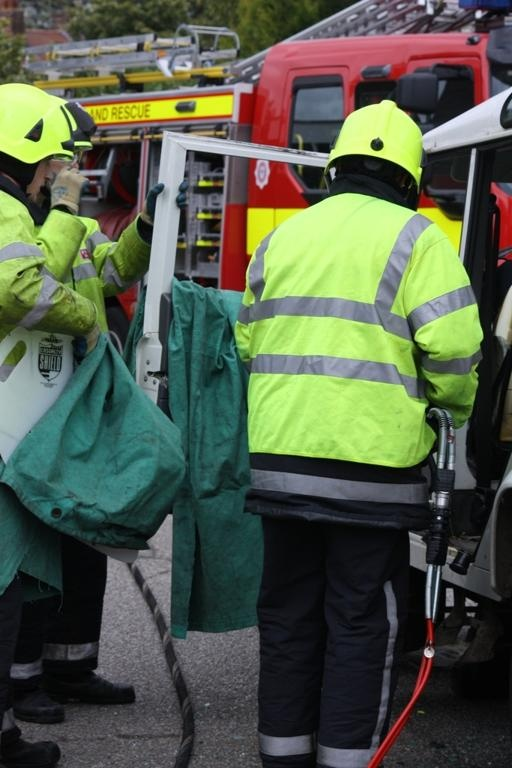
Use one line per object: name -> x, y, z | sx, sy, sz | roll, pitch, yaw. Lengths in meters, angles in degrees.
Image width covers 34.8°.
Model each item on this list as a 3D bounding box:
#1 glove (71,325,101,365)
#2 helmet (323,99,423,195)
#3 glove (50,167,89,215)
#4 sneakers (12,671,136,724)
glove -> -0.508, -0.123, 2.538 | 0.087, 0.098, 0.104 | 5, 41, 12
helmet -> 0.335, -0.664, 2.289 | 0.204, 0.205, 0.251 | 8, -3, 9
glove -> -0.563, -0.579, 2.472 | 0.107, 0.152, 0.171 | 2, 1, -12
sneakers -> -0.652, 1.143, 2.997 | 0.434, 0.170, 0.261 | -1, -1, -8
